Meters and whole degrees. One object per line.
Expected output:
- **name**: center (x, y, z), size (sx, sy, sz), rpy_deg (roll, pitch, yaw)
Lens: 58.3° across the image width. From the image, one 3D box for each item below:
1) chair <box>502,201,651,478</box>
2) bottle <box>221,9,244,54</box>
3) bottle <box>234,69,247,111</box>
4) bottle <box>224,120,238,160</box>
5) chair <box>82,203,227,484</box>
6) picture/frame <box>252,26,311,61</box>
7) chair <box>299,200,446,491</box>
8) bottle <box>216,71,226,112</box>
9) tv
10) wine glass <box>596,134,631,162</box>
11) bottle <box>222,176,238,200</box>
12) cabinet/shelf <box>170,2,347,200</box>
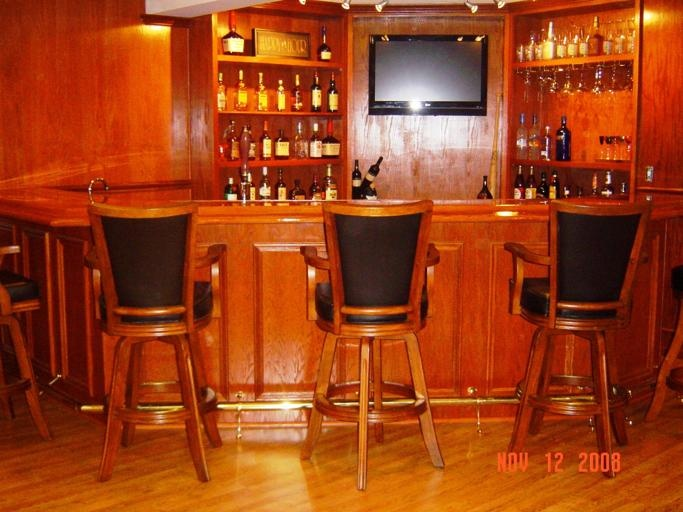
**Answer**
- **chair**: center (1.117, 0.359, 3.011), size (0.625, 1.286, 0.534), rpy_deg (3, 10, 21)
- **bottle**: center (-0.913, -1.854, 5.123), size (0.166, 0.346, 0.192), rpy_deg (-5, 10, -25)
- **bottle**: center (-0.872, -1.448, 5.334), size (0.105, 0.363, 0.156), rpy_deg (-1, 9, -8)
- **bottle**: center (-0.954, -1.006, 5.323), size (0.124, 0.328, 0.126), rpy_deg (0, 9, 0)
- **chair**: center (-0.846, 0.387, 2.855), size (0.594, 1.280, 0.423), rpy_deg (-3, 10, -18)
- **picture/frame**: center (-0.535, -1.831, 5.294), size (0.422, 0.180, 0.055), rpy_deg (-4, 5, -31)
- **chair**: center (0.151, 0.370, 2.900), size (0.686, 1.290, 0.580), rpy_deg (2, 9, 13)
- **bottle**: center (-1.023, -1.407, 5.225), size (0.065, 0.345, 0.227), rpy_deg (-1, 9, -8)
- **tv**: center (0.799, -1.704, 5.679), size (1.115, 0.723, 0.090), rpy_deg (0, 8, 0)
- **wine glass**: center (2.276, -0.901, 5.103), size (0.093, 0.236, 0.282), rpy_deg (-2, 5, -23)
- **bottle**: center (-0.954, -0.588, 5.291), size (0.133, 0.185, 0.402), rpy_deg (-2, 10, -10)
- **cabinet/shelf**: center (-0.766, -1.391, 5.346), size (1.586, 1.852, 0.480), rpy_deg (-9, 18, -30)
